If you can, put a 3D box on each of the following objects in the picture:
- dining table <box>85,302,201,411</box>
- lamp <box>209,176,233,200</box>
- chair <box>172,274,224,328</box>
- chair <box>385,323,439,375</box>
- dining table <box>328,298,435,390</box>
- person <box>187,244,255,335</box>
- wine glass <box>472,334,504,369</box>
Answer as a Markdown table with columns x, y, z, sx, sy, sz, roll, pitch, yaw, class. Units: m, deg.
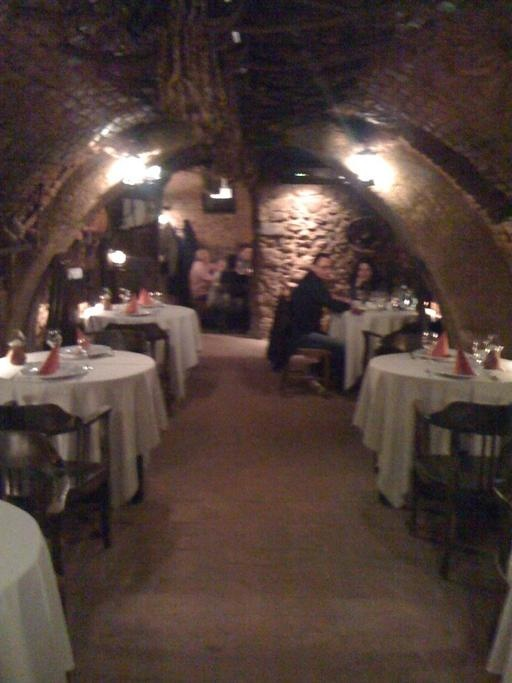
| x | y | z | sx | sy | sz | roll | pitch | yaw | class |
| --- | --- | --- | --- | --- | --- | --- | --- | --- | --- |
| -0.886 | 0.042 | 4.799 | 0.874 | 0.656 | 0.887 | 6 | 14 | 28 | dining table |
| -0.494 | -2.286 | 8.361 | 0.258 | 0.293 | 0.519 | -4 | 11 | -27 | lamp |
| -0.817 | -0.542 | 8.124 | 0.714 | 0.989 | 0.698 | 1 | 7 | 4 | chair |
| 1.134 | 0.025 | 4.184 | 0.354 | 0.418 | 0.443 | 0 | 9 | -7 | chair |
| 1.134 | 0.022 | 4.720 | 0.573 | 0.616 | 0.572 | -20 | -19 | 31 | dining table |
| -0.481 | -0.716 | 7.959 | 0.901 | 1.208 | 0.577 | 1 | 9 | 1 | person |
| 1.232 | 0.057 | 2.957 | 0.167 | 0.162 | 0.140 | -2 | 4 | -5 | wine glass |
